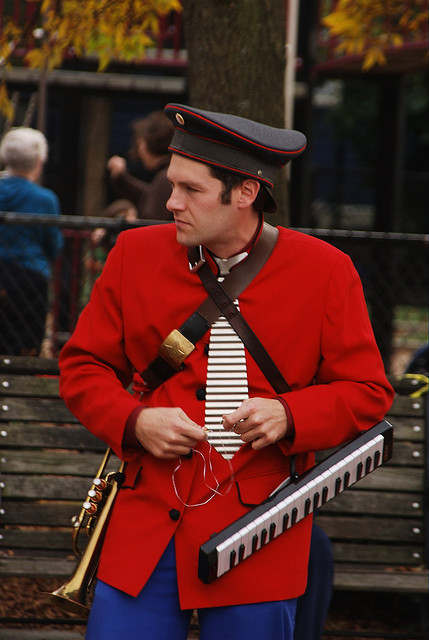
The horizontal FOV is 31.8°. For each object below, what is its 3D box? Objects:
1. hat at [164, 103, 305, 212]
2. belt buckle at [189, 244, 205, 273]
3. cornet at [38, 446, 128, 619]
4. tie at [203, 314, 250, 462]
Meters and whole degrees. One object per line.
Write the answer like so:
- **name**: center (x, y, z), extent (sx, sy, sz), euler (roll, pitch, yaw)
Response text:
- **hat**: center (0.041, -0.435, 1.985), extent (0.371, 0.184, 0.291), euler (8, 13, -23)
- **belt buckle**: center (-0.038, -0.161, 1.945), extent (0.017, 0.057, 0.044), euler (6, -9, -12)
- **cornet**: center (-0.369, 0.604, 2.086), extent (0.227, 0.506, 0.362), euler (-1, 7, -13)
- **tie**: center (0.028, 0.166, 1.877), extent (0.109, 0.351, 0.116), euler (1, 7, 1)
